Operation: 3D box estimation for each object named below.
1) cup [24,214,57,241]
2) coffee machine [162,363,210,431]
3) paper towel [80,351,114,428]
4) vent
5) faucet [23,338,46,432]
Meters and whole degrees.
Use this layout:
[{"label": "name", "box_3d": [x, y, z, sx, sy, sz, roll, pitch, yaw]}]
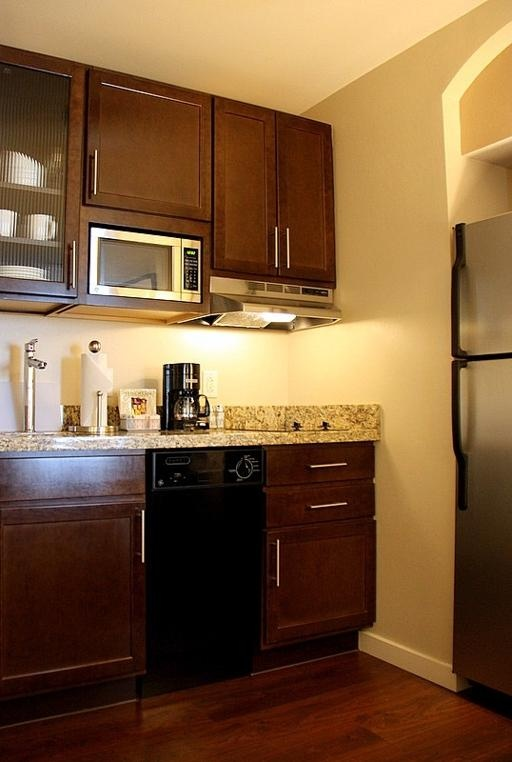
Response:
[{"label": "cup", "box_3d": [-0.757, -0.538, 2.132, 0.085, 0.095, 0.088, 3, -2, 0]}, {"label": "coffee machine", "box_3d": [-0.306, 0.074, 2.635, 0.215, 0.280, 0.214, 1, -7, -6]}, {"label": "paper towel", "box_3d": [-0.637, 0.035, 2.402, 0.117, 0.311, 0.194, 4, -8, -27]}, {"label": "vent", "box_3d": [-0.003, -0.336, 2.772, 0.703, 0.198, 0.559, 4, -8, -28]}, {"label": "faucet", "box_3d": [-0.859, 0.013, 2.346, 0.087, 0.377, 0.225, 3, -8, -21]}]
